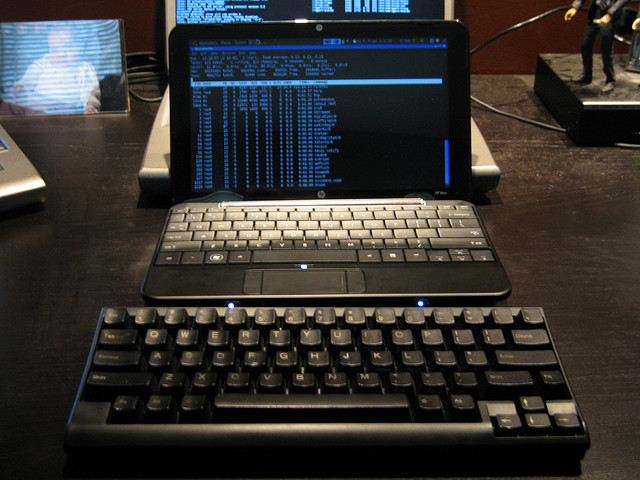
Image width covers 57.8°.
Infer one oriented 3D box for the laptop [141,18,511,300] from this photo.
[{"bbox_3d":[-0.008,-0.109,0.721,0.443,0.246,0.307,1,28,3],"label":"laptop"}]
